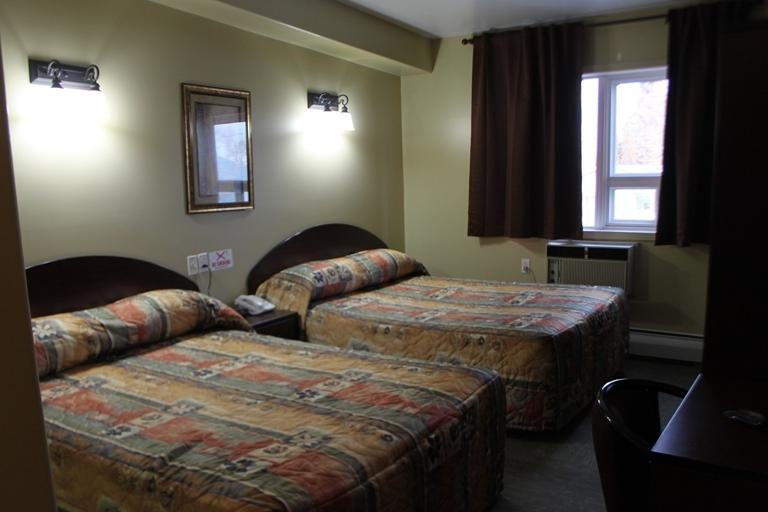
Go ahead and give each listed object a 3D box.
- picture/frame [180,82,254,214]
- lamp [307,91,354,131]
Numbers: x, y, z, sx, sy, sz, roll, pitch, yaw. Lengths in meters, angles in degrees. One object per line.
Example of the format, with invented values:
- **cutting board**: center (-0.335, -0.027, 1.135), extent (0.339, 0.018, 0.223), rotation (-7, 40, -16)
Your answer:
- **picture/frame**: center (-1.278, -0.828, 4.076), extent (0.130, 0.957, 0.676), rotation (10, 16, 37)
- **lamp**: center (-0.447, -1.374, 4.975), extent (0.295, 0.364, 0.561), rotation (7, 14, 27)
